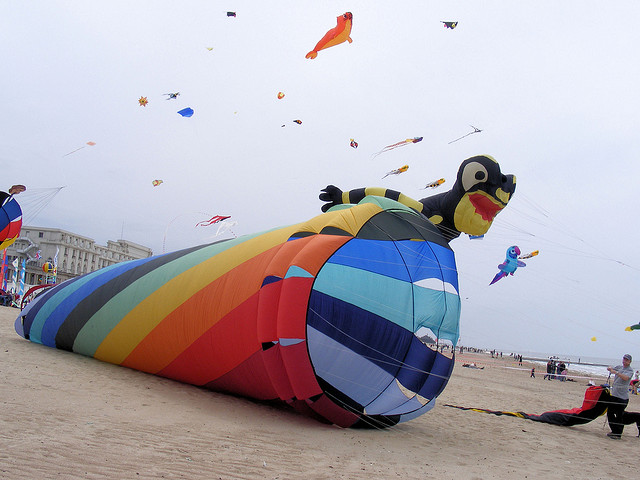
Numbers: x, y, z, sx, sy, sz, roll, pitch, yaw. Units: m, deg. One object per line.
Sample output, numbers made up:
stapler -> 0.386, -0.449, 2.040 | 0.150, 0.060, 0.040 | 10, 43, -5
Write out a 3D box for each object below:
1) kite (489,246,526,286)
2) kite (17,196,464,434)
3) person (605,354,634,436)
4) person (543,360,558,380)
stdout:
kite -> 3.213, 0.388, 7.698 | 0.267, 0.637, 0.312 | 45, 17, 3
kite -> -1.319, 1.551, 9.540 | 7.507, 3.272, 4.109 | -3, -11, 27
person -> 6.129, 3.199, 9.429 | 0.442, 1.446, 0.580 | 6, -1, 34
person -> 13.777, 7.884, 27.447 | 0.563, 0.953, 2.146 | 7, -3, 27
